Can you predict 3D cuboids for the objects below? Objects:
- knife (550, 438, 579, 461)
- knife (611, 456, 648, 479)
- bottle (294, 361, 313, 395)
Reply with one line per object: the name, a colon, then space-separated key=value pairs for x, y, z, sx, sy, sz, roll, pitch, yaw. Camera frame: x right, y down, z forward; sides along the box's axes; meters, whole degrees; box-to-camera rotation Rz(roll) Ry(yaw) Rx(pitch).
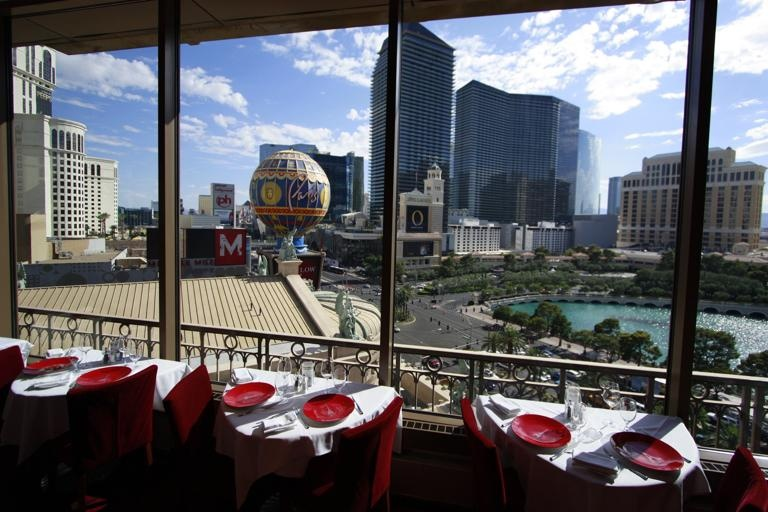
knife: x=2.148 y=2.307 z=5.778 sx=0.470 sy=0.067 sz=0.155 roll=-23 pitch=56 yaw=-28
knife: x=2.856 y=2.452 z=5.660 sx=0.346 sy=0.194 sz=0.083 roll=2 pitch=4 yaw=28
bottle: x=-1.028 y=1.571 z=6.340 sx=0.371 sy=0.387 sz=0.228 roll=1 pitch=-1 yaw=36
